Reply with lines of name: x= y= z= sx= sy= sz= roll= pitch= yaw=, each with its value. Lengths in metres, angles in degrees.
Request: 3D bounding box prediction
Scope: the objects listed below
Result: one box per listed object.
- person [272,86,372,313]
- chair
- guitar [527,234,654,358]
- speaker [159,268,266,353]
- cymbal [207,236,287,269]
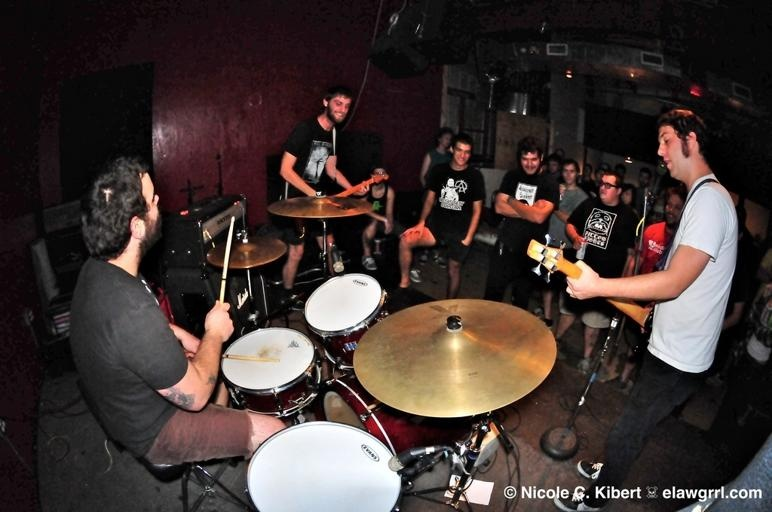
person: x=-0.820 y=-0.671 z=6.579 sx=1.191 sy=2.753 sz=0.973 roll=-4 pitch=14 yaw=-37
chair: x=-1.769 y=1.147 z=4.247 sx=0.945 sy=1.093 sz=0.955 roll=-16 pitch=30 yaw=-28
guitar: x=1.548 y=0.226 z=3.997 sx=1.162 sy=0.812 sz=0.332 roll=-5 pitch=26 yaw=-21
speaker: x=-2.004 y=0.613 z=6.009 sx=0.755 sy=1.175 sz=1.346 roll=-14 pitch=4 yaw=-4
cymbal: x=-1.344 y=-0.041 z=5.249 sx=0.465 sy=0.102 sz=0.444 roll=-7 pitch=30 yaw=-17
